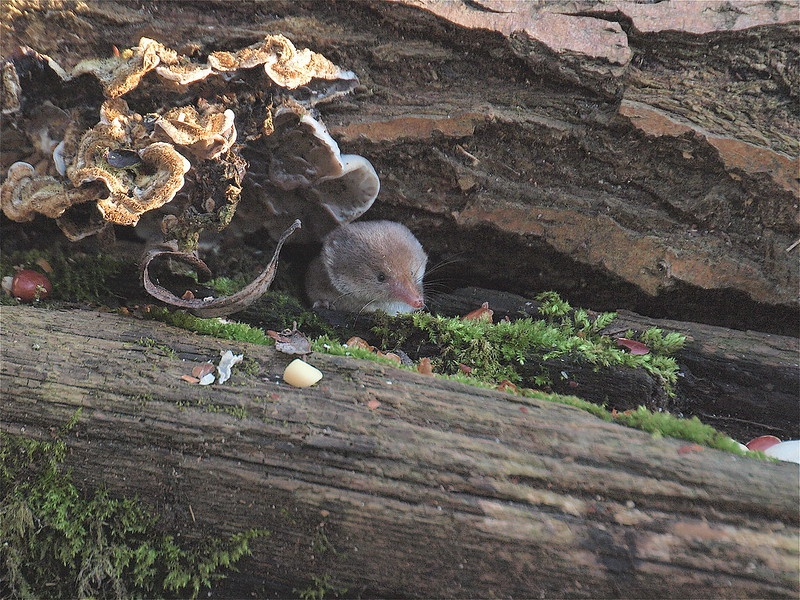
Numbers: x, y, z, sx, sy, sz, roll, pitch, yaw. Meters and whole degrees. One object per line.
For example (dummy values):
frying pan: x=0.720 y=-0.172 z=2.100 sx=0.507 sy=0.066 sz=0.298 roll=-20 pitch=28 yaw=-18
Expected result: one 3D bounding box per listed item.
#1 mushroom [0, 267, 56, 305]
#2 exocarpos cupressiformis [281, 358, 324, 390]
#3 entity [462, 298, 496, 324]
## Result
mushroom: x=-2.289 y=-0.081 z=8.613 sx=0.260 sy=0.147 sz=0.198 roll=14 pitch=27 yaw=7
exocarpos cupressiformis: x=-0.564 y=0.431 z=8.181 sx=0.176 sy=0.119 sz=0.155 roll=28 pitch=13 yaw=-39
entity: x=0.534 y=0.094 z=9.298 sx=0.128 sy=0.152 sz=0.153 roll=38 pitch=23 yaw=-8
